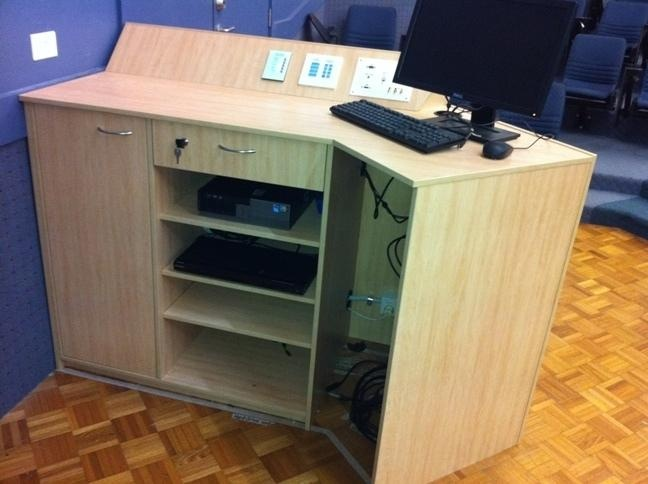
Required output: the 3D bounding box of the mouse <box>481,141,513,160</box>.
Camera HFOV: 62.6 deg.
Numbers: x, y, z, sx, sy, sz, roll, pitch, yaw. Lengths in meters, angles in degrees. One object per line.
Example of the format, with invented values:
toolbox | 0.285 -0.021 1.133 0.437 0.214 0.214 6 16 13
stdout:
mouse | 0.581 -0.307 1.794 0.098 0.045 0.093 13 30 12
